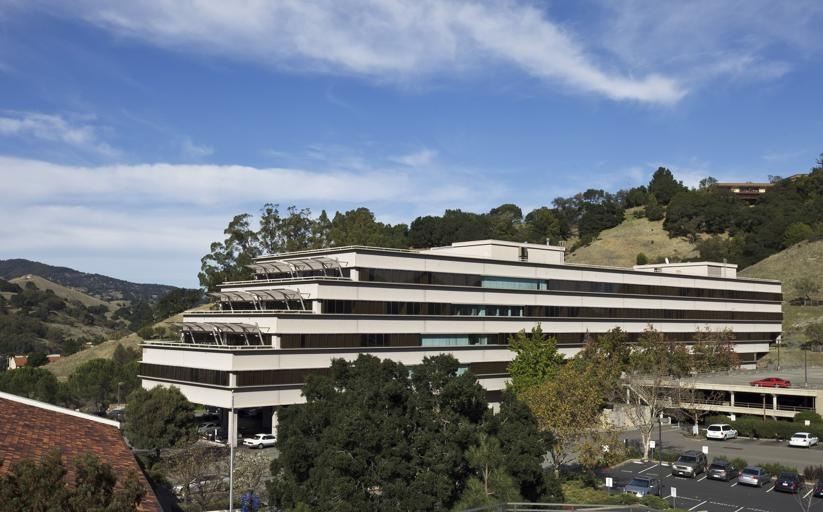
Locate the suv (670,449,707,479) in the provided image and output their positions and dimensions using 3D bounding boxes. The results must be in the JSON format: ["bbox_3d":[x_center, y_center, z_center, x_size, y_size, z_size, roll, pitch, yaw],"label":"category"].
[{"bbox_3d":[40.832,30.730,130.067,5.134,3.444,2.235,5,-7,-26],"label":"suv"}]

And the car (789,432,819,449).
[{"bbox_3d":[62.539,29.311,140.638,4.542,2.395,2.158,5,-7,-26],"label":"car"}]

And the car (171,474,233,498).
[{"bbox_3d":[-28.896,32.297,122.935,7.126,2.595,3.225,3,-8,-23],"label":"car"}]

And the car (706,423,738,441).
[{"bbox_3d":[51.123,29.049,145.679,4.863,2.581,1.728,5,-7,-22],"label":"car"}]
